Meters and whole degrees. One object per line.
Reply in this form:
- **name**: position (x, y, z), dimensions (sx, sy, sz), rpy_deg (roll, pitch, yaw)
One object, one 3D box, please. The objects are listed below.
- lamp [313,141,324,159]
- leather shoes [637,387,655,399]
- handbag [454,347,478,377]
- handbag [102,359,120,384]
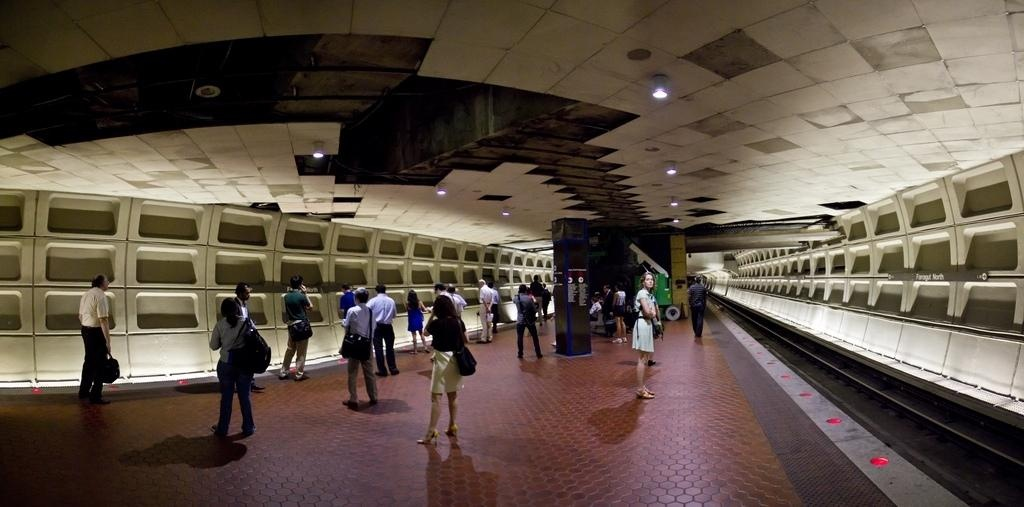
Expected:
- **lamp**: position (-5.085, -2.699, 11.645), dimensions (0.392, 0.274, 0.335), rpy_deg (-4, -9, -2)
- **leather shoes**: position (3.758, 3.894, 12.483), dimensions (0.505, 0.227, 0.295), rpy_deg (-2, -2, 9)
- **handbag**: position (-1.099, 2.588, 10.525), dimensions (0.461, 0.720, 0.333), rpy_deg (-6, 14, -12)
- **handbag**: position (-11.082, 3.218, 12.229), dimensions (0.447, 0.627, 0.319), rpy_deg (-8, 15, -21)
